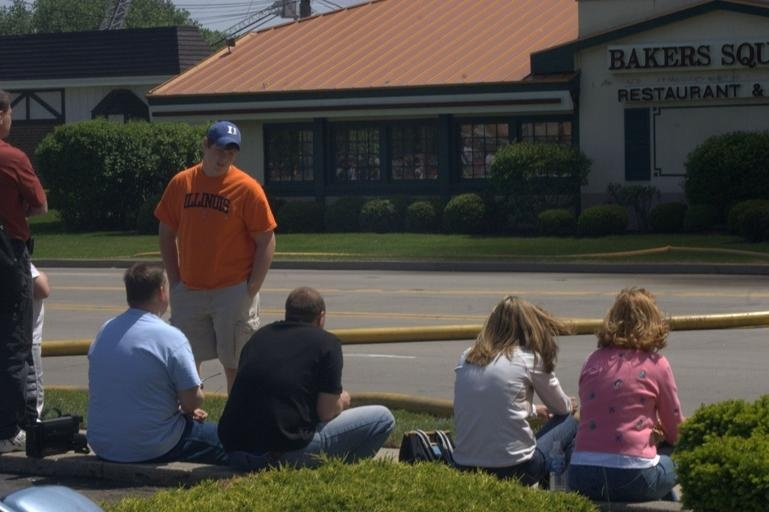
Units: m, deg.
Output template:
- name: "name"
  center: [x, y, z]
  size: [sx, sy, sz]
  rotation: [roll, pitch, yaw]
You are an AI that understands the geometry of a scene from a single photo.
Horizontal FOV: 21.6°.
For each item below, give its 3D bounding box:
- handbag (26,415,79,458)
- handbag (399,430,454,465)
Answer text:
- name: "handbag"
  center: [-8.500, 4.504, 51.894]
  size: [1.226, 0.919, 0.953]
  rotation: [-4, 4, -35]
- name: "handbag"
  center: [1.024, 4.741, 51.322]
  size: [1.362, 0.830, 0.382]
  rotation: [1, 4, 2]
